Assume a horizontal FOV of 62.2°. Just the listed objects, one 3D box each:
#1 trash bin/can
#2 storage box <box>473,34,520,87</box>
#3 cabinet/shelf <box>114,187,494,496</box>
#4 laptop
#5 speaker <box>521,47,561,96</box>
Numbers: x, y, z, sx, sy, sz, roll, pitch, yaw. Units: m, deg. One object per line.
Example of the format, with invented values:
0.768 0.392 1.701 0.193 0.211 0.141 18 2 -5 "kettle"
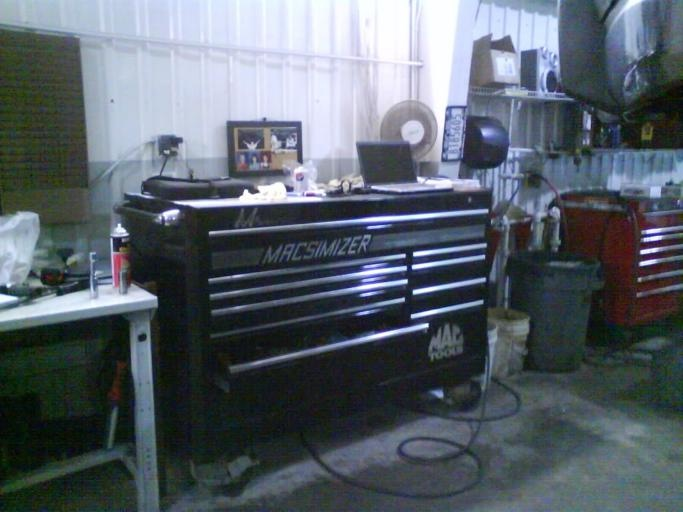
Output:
1.432 0.344 4.102 0.714 0.855 0.702 -5 7 -40 "trash bin/can"
1.087 -1.402 4.070 0.341 0.347 0.345 -4 5 11 "storage box"
-0.090 0.263 3.083 1.886 1.183 0.888 -6 12 -35 "cabinet/shelf"
0.343 -0.494 3.093 0.546 0.283 0.452 -6 12 -16 "laptop"
1.493 -1.401 4.276 0.292 0.336 0.298 0 11 11 "speaker"
